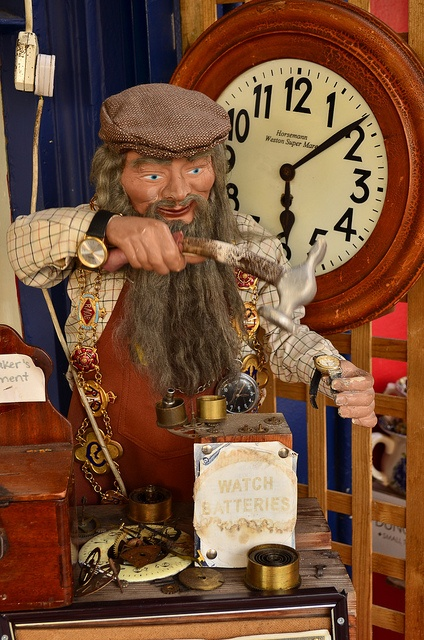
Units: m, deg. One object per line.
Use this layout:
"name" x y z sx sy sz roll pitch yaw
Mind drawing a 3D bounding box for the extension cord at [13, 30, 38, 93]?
"extension cord" -0.418 -0.587 1.379 0.050 0.132 0.104 -3 10 -16

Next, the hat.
"hat" -0.109 -0.425 1.367 0.262 0.167 0.338 17 23 41
